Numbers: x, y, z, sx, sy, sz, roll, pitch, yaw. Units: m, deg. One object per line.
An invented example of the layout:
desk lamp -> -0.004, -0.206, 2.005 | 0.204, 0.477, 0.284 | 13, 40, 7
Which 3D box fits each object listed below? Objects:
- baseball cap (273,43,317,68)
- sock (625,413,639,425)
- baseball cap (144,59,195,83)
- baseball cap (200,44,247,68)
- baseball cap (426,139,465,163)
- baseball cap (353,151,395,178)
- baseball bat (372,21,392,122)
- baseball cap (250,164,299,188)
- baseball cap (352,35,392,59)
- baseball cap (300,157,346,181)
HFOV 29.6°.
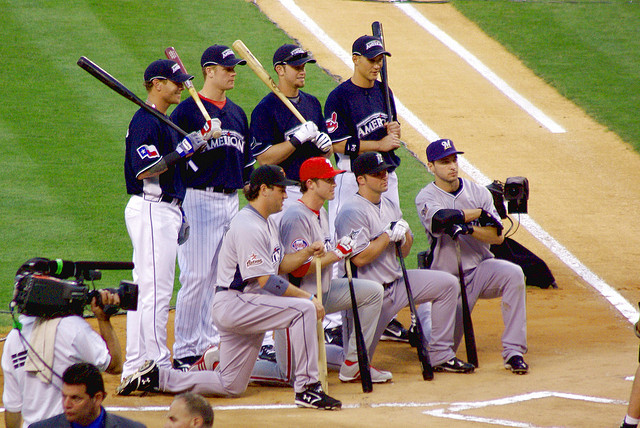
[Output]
baseball cap -> -0.349, -2.216, 17.133 | 0.508, 0.240, 0.322 | -13, 3, 24
sock -> 3.929, 2.546, 15.004 | 0.138, 0.081, 0.117 | 1, 3, 13
baseball cap -> -2.003, -1.888, 16.106 | 0.558, 0.180, 0.318 | 0, 13, -3
baseball cap -> -1.311, -2.159, 16.731 | 0.524, 0.242, 0.302 | -13, 7, 15
baseball cap -> 1.757, -0.867, 17.010 | 0.313, 0.204, 0.393 | -15, -3, -39
baseball cap -> 0.789, -0.680, 16.759 | 0.457, 0.228, 0.302 | -16, 3, 21
baseball bat -> 0.981, -2.150, 17.704 | 0.213, 1.717, 0.101 | -2, -20, -3
baseball cap -> -0.612, -0.487, 15.823 | 0.505, 0.181, 0.301 | -3, 5, 3
baseball cap -> 0.787, -2.377, 17.320 | 0.474, 0.228, 0.301 | 2, 10, 45
baseball cap -> 0.048, -0.607, 16.337 | 0.487, 0.197, 0.285 | -5, 4, 6
